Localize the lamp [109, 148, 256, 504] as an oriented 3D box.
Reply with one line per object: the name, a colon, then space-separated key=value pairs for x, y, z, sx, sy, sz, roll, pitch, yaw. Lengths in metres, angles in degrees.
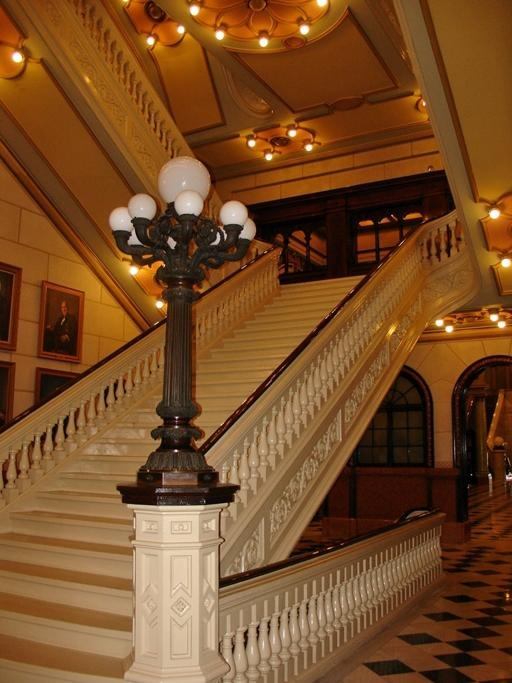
lamp: x=-0.364 y=-0.082 z=2.632 sx=0.649 sy=1.576 sz=0.532 roll=-1 pitch=-13 yaw=0

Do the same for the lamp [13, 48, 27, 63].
lamp: x=-2.541 y=-3.049 z=6.293 sx=0.147 sy=0.134 sz=0.138 roll=-4 pitch=26 yaw=-8
